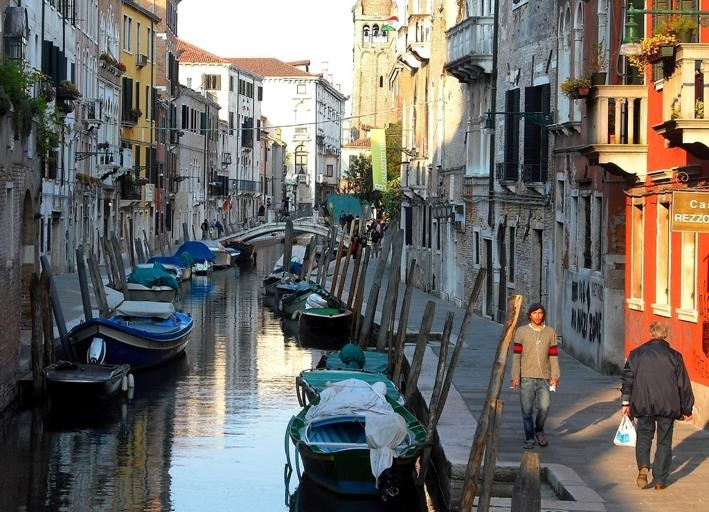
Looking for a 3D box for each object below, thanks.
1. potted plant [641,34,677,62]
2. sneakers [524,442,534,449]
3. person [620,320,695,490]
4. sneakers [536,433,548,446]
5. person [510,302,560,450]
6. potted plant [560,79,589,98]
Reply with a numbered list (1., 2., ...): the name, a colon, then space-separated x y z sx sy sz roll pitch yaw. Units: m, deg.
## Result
1. potted plant: 5.138 -3.517 17.328 0.621 0.458 0.503 2 5 25
2. sneakers: 2.903 3.123 17.110 0.092 0.112 0.248 -1 -4 4
3. person: 4.372 2.148 14.904 0.963 2.426 0.394 2 5 18
4. sneakers: 3.156 3.059 17.282 0.108 0.120 0.262 -2 7 -2
5. person: 3.017 1.960 17.156 0.728 2.405 0.789 1 5 10
6. potted plant: 4.607 -3.448 21.237 0.492 0.391 0.465 0 8 -2
